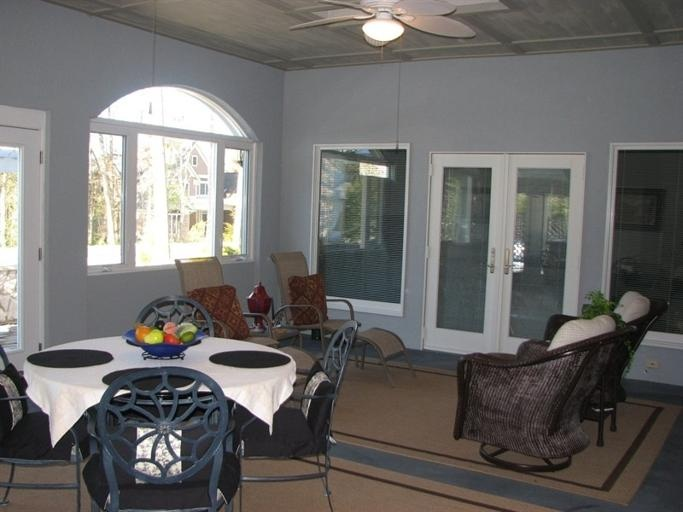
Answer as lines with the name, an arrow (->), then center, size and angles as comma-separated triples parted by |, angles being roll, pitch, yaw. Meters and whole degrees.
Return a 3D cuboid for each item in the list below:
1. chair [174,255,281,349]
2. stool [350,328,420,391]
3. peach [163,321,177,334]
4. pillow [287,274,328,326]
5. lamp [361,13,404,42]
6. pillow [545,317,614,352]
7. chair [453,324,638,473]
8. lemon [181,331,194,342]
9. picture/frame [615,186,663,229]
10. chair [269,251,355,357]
chair -> -1.246, 0.420, 5.294 | 1.087, 0.898, 0.730 | 3, 4, 35
stool -> 0.358, 1.024, 5.732 | 0.461, 0.470, 0.739 | -12, 14, -39
peach -> -0.970, 0.408, 3.005 | 0.068, 0.064, 0.064 | -1, 13, -4
pillow -> -0.389, 0.516, 6.118 | 0.465, 0.523, 0.711 | 2, 6, -6
lamp -> 0.306, -1.677, 3.909 | 0.273, 0.147, 0.304 | 2, 6, 2
pillow -> 1.686, 0.534, 3.650 | 0.535, 0.199, 0.165 | -1, 7, -25
chair -> 1.475, 0.975, 4.073 | 1.218, 1.094, 1.083 | 2, 3, 38
lemon -> -0.866, 0.453, 2.991 | 0.064, 0.047, 0.045 | -11, 25, -20
picture/frame -> 3.213, -0.510, 5.725 | 0.474, 0.423, 0.114 | 8, 5, 32
chair -> -0.332, 0.493, 6.557 | 1.183, 1.446, 1.067 | -4, -1, 41
